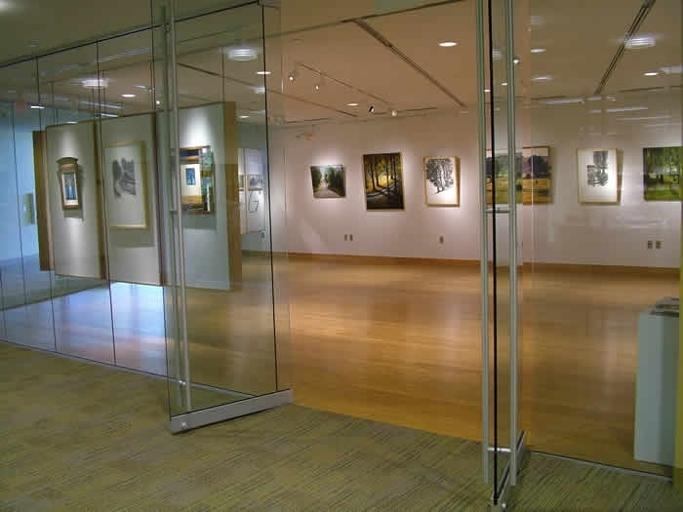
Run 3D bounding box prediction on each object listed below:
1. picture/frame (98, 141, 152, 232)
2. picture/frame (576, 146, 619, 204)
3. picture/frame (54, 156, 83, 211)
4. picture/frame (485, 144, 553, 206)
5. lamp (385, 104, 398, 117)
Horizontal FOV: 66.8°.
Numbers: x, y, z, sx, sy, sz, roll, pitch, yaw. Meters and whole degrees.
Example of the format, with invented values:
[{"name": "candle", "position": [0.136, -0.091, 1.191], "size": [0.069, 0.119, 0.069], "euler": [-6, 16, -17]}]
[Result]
[{"name": "picture/frame", "position": [-2.639, -0.878, 6.363], "size": [1.023, 1.500, 0.140], "euler": [2, 5, 29]}, {"name": "picture/frame", "position": [2.039, -0.664, 4.127], "size": [0.415, 0.622, 0.027], "euler": [-1, 1, 4]}, {"name": "picture/frame", "position": [-3.584, -0.944, 6.812], "size": [0.463, 0.674, 0.087], "euler": [5, 11, 35]}, {"name": "picture/frame", "position": [1.384, -0.619, 4.127], "size": [0.017, 0.435, 0.592], "euler": [-10, 11, -37]}, {"name": "lamp", "position": [1.306, -3.805, 13.517], "size": [0.163, 0.221, 0.223], "euler": [2, -6, -24]}]
